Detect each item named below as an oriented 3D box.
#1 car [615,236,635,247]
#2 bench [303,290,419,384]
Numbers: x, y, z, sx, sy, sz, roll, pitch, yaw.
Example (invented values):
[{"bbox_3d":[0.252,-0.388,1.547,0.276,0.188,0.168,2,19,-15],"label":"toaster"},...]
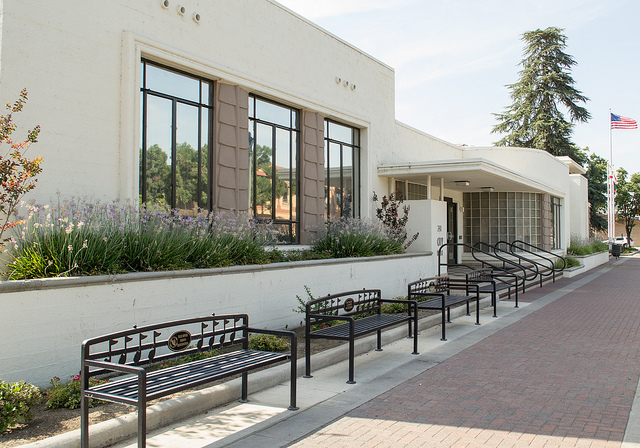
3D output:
[{"bbox_3d":[36.125,2.041,58.495,1.537,1.074,2.220,0,3,-16],"label":"car"},{"bbox_3d":[0.782,1.777,8.326,0.896,1.153,2.602,-1,-3,32],"label":"bench"}]
